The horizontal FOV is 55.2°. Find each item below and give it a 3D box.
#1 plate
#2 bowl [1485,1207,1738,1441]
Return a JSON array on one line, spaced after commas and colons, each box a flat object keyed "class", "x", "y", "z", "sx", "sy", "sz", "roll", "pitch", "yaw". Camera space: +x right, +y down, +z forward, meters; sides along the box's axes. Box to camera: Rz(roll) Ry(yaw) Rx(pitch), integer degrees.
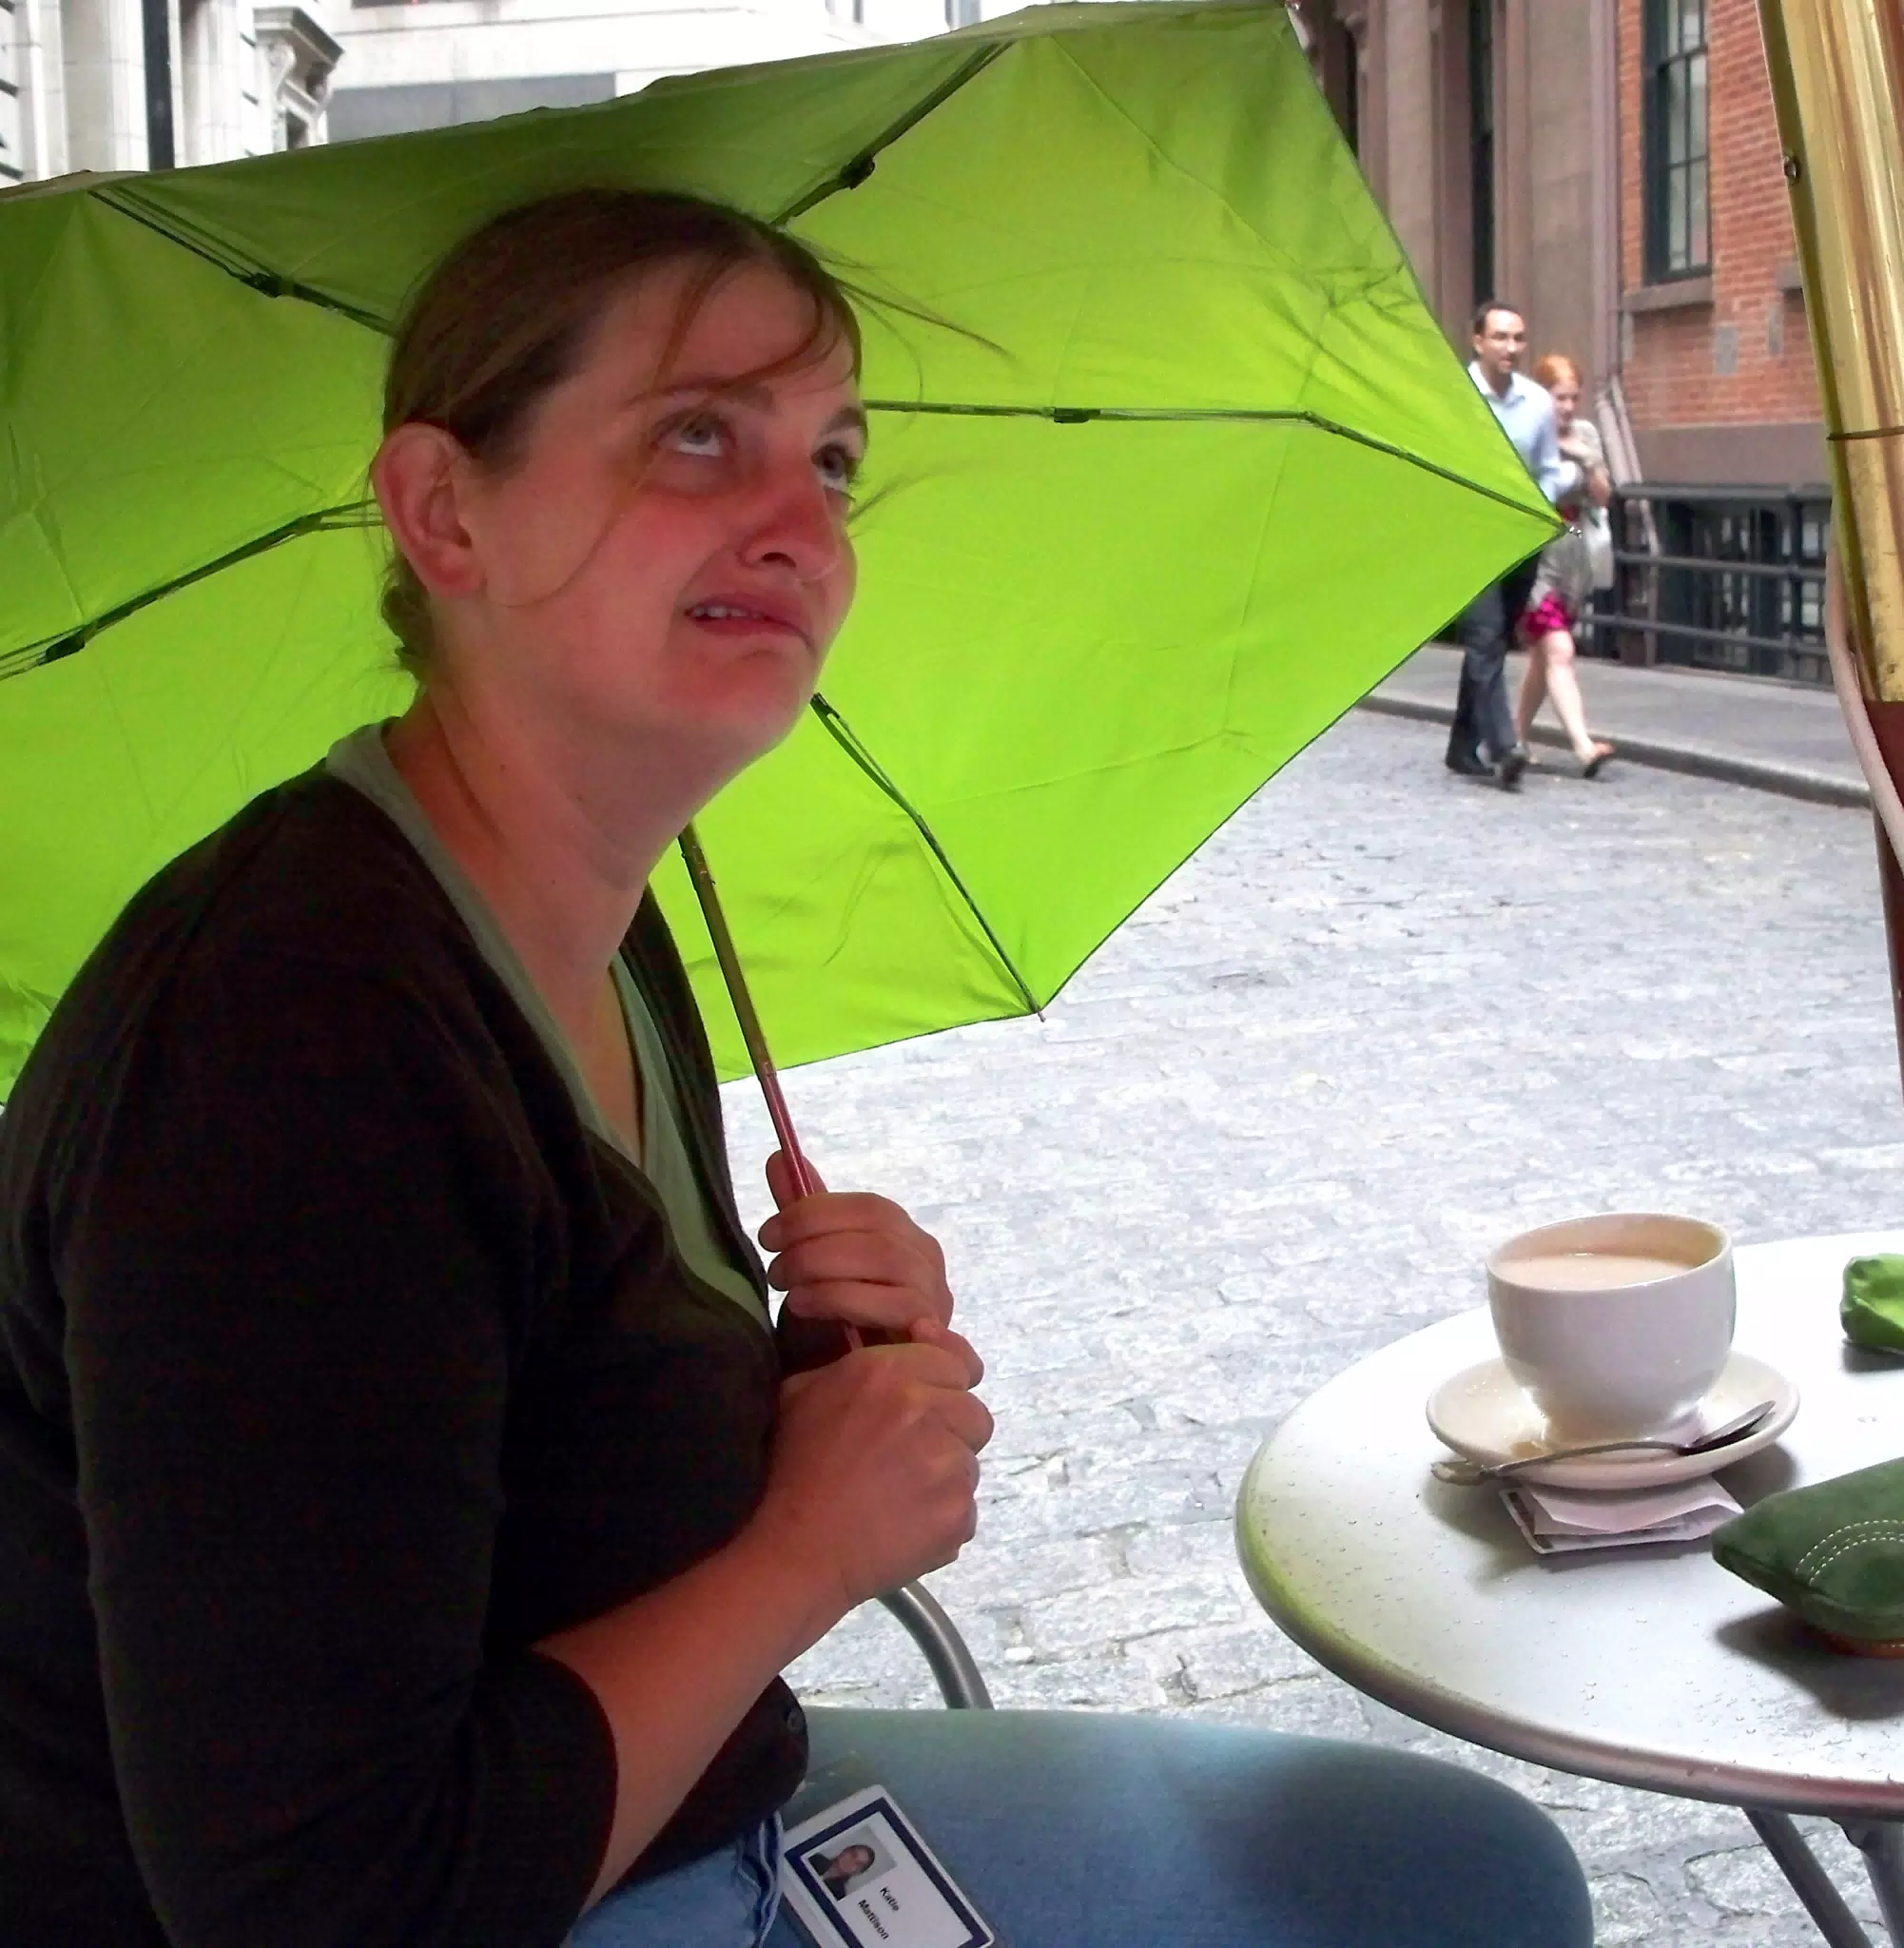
[{"class": "plate", "x": 0.515, "y": 0.351, "z": 1.398, "sx": 0.156, "sy": 0.027, "sz": 0.140, "roll": -7, "pitch": 4, "yaw": -26}, {"class": "bowl", "x": 0.508, "y": 0.281, "z": 1.413, "sx": 0.196, "sy": 0.137, "sz": 0.175, "roll": -12, "pitch": 10, "yaw": -31}]
